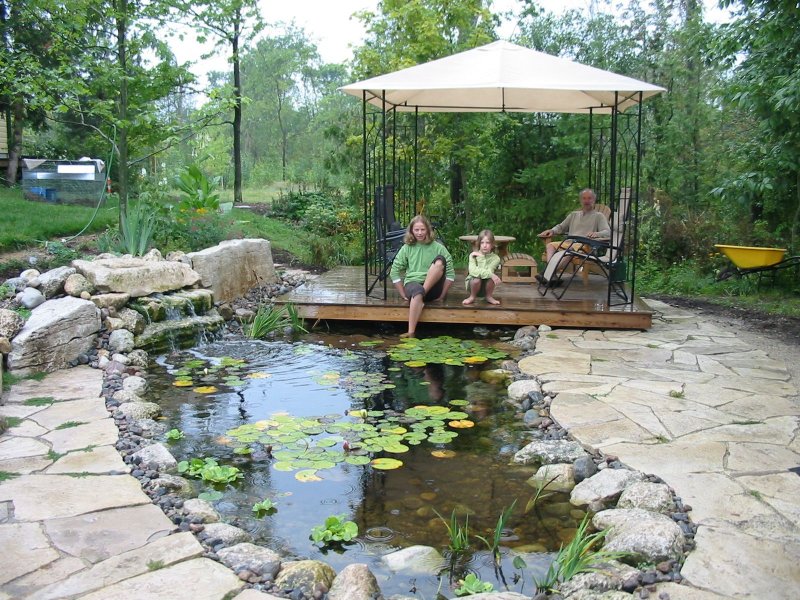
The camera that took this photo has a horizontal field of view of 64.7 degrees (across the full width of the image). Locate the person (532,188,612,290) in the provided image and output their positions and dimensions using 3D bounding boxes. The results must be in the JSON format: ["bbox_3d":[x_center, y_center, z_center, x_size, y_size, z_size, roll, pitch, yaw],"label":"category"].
[{"bbox_3d":[2.700,-0.997,10.076,1.146,1.451,1.092,-6,10,-19],"label":"person"}]

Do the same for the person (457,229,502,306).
[{"bbox_3d":[1.143,-0.457,8.811,0.536,1.038,0.738,0,15,7],"label":"person"}]

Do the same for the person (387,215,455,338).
[{"bbox_3d":[0.282,-0.360,8.605,0.958,1.600,0.620,-14,19,-38],"label":"person"}]

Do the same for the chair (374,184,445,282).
[{"bbox_3d":[-0.057,-1.187,10.206,1.311,1.811,1.298,3,10,12],"label":"chair"}]

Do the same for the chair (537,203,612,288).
[{"bbox_3d":[2.772,-0.848,9.837,1.196,1.024,0.826,-14,10,1],"label":"chair"}]

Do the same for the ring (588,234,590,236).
[{"bbox_3d":[2.898,-1.008,9.672,0.043,0.020,0.058,-2,3,9],"label":"ring"}]

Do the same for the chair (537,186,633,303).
[{"bbox_3d":[2.797,-0.758,9.280,1.087,1.508,1.127,4,2,5],"label":"chair"}]
